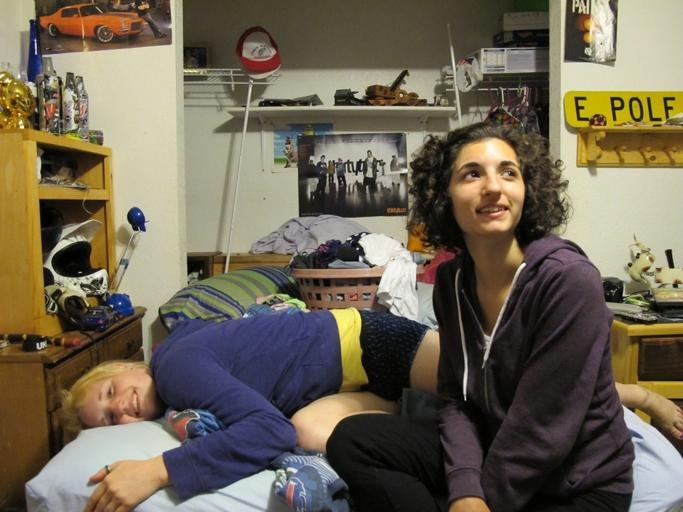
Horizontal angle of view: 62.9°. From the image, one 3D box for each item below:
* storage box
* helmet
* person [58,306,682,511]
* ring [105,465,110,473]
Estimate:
[{"bbox_3d":[1.212,-1.550,4.009,0.518,0.503,0.325,0,3,14],"label":"storage box"},{"bbox_3d":[-1.340,0.010,2.724,0.374,0.360,0.270,-1,6,12],"label":"helmet"},{"bbox_3d":[-0.192,0.473,2.116,1.582,0.435,0.983,0,-10,-3],"label":"person"},{"bbox_3d":[-0.780,0.707,1.858,0.018,0.022,0.008,6,-9,-6],"label":"ring"}]
